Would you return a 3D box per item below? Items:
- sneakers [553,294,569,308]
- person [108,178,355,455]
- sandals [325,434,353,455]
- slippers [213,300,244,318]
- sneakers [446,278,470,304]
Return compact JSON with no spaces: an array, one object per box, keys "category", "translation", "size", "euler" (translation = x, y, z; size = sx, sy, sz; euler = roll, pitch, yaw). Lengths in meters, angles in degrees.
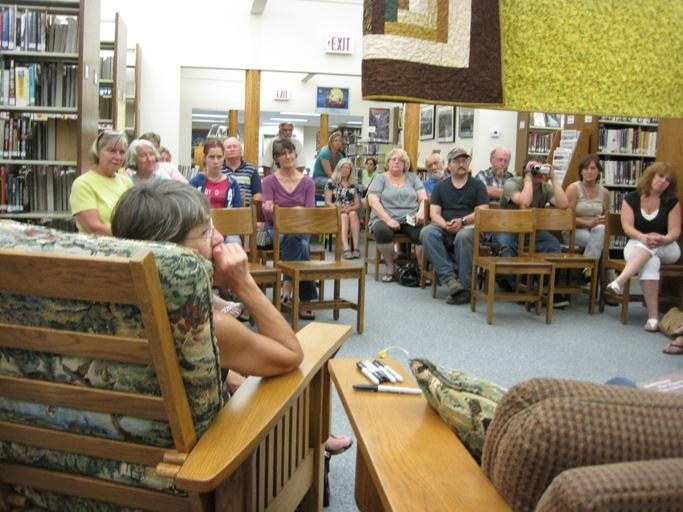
[{"category":"sneakers","translation":[2.088,0.432,5.603],"size":[0.171,0.127,0.129],"euler":[-4,9,-4]},{"category":"person","translation":[-0.278,0.062,1.798],"size":[0.531,0.882,0.497],"euler":[0,5,6]},{"category":"sandals","translation":[-0.011,0.772,2.405],"size":[0.133,0.063,0.087],"euler":[-6,1,-1]},{"category":"slippers","translation":[-0.357,0.163,1.896],"size":[0.050,0.057,0.140],"euler":[-4,5,-34]},{"category":"sneakers","translation":[1.074,0.353,5.447],"size":[0.322,0.259,0.122],"euler":[-3,4,7]}]
